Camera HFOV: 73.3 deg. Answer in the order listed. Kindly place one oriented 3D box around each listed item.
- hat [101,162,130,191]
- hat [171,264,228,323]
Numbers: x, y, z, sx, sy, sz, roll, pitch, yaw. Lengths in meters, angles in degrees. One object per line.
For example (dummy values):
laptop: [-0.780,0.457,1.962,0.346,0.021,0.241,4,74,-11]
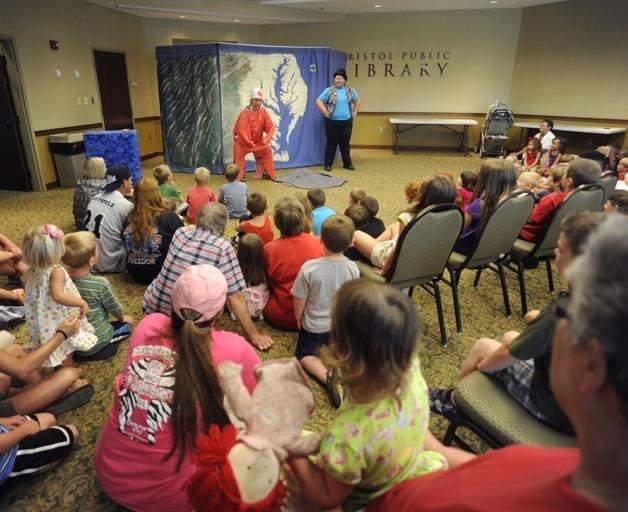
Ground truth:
hat: [-1.638,-0.664,3.481,0.192,0.191,0.370,-7,21,-25]
hat: [-0.380,0.114,1.385,0.136,0.085,0.205,9,56,-11]
